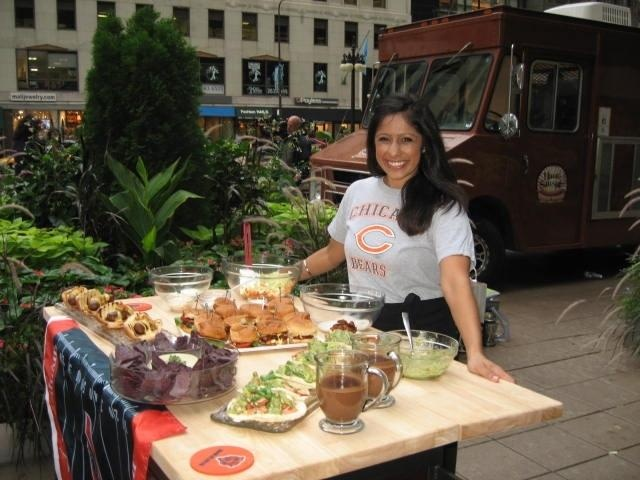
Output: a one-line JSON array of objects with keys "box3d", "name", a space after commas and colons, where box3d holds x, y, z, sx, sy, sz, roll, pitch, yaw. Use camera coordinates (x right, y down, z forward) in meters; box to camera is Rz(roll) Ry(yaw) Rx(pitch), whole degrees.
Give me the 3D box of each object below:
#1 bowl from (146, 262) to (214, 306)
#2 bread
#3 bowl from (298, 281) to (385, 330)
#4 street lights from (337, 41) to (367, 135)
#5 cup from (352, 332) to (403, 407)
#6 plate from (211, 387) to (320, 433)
[{"box3d": [-0.817, 0.216, 3.026, 0.330, 0.233, 0.279, -7, 12, -38], "name": "bowl"}, {"box3d": [-1.021, 0.337, 2.708, 0.417, 0.296, 0.490, 7, 7, 36], "name": "bread"}, {"box3d": [0.115, 0.349, 2.667, 0.424, 0.185, 0.415, 3, 8, 0], "name": "bowl"}, {"box3d": [1.429, -5.909, 21.126, 0.973, 3.754, 0.972, -9, 13, -44], "name": "street lights"}, {"box3d": [0.228, 0.490, 2.001, 0.210, 0.239, 0.191, -2, 9, -32], "name": "cup"}, {"box3d": [-0.182, 0.614, 1.810, 0.389, 0.044, 0.195, -2, 10, -9], "name": "plate"}]
